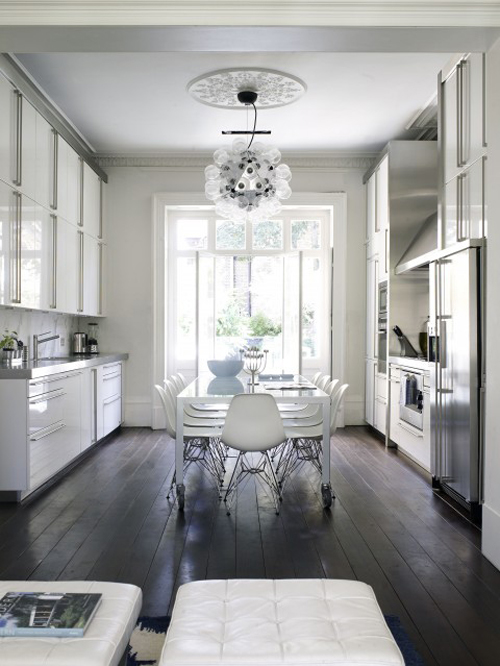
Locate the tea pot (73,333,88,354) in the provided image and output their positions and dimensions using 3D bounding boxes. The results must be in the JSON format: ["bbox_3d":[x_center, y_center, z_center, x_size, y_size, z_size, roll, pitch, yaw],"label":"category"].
[{"bbox_3d":[-1.990,0.119,5.682,0.137,0.228,0.297,-2,3,-10],"label":"tea pot"}]

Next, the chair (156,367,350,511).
[{"bbox_3d":[-0.014,0.763,3.766,1.333,0.906,1.743,-2,3,-9],"label":"chair"}]

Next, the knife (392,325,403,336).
[{"bbox_3d":[1.466,-0.019,4.819,0.025,0.105,0.059,-40,-28,19],"label":"knife"}]

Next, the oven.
[{"bbox_3d":[1.397,0.758,4.234,0.298,0.750,0.858,0,2,5],"label":"oven"}]

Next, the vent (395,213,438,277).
[{"bbox_3d":[1.570,-0.798,4.481,0.145,0.544,0.585,19,15,20],"label":"vent"}]

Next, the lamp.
[{"bbox_3d":[-0.014,-1.514,4.080,0.986,1.173,0.977,-1,3,3],"label":"lamp"}]
